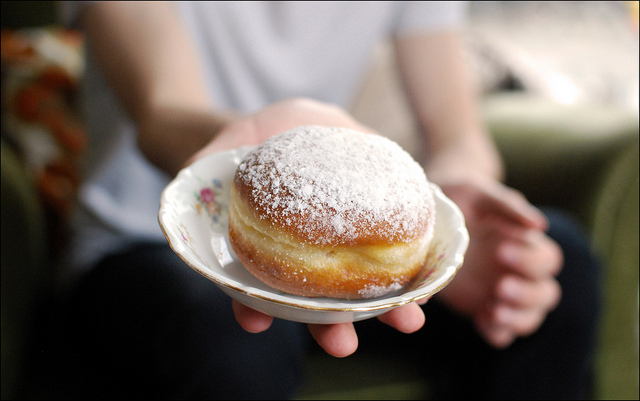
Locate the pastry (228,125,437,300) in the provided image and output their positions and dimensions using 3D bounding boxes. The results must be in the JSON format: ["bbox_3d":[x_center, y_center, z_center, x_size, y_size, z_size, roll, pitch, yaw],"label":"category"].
[{"bbox_3d":[0.038,0.036,1.583,0.555,0.279,0.521,-4,38,-13],"label":"pastry"}]
